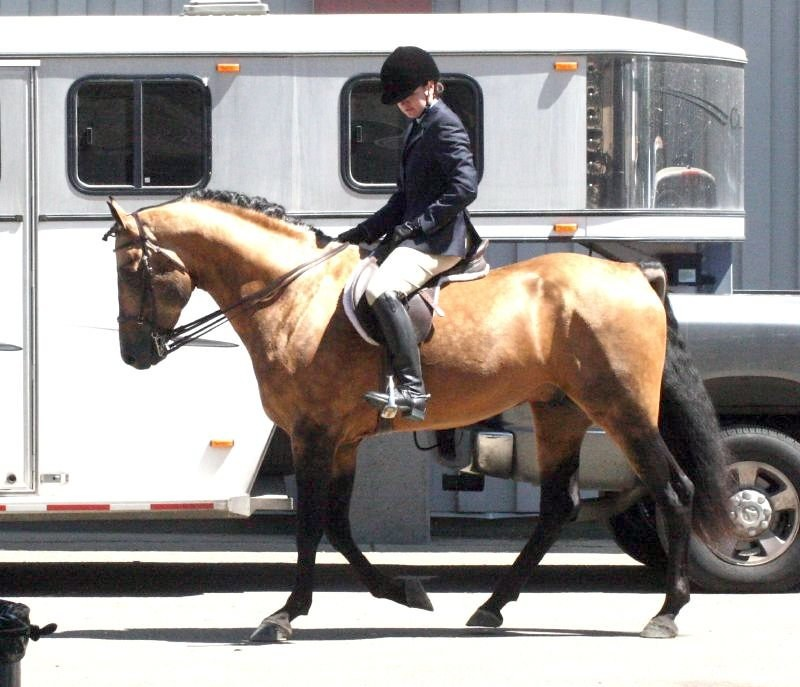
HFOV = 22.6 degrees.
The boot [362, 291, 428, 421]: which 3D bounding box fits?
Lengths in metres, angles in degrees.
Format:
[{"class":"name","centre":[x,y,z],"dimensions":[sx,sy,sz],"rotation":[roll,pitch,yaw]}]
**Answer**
[{"class":"boot","centre":[-0.024,0.093,12.342],"dimensions":[0.364,0.815,0.378],"rotation":[1,7,2]}]

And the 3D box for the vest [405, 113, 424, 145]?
[{"class":"vest","centre":[0.083,-1.333,12.641],"dimensions":[0.127,0.153,0.079],"rotation":[6,4,-10]}]

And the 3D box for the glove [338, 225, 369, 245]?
[{"class":"glove","centre":[-0.307,-0.682,12.774],"dimensions":[0.188,0.079,0.106],"rotation":[0,5,-10]}]

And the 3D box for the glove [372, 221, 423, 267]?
[{"class":"glove","centre":[-0.057,-0.626,12.619],"dimensions":[0.117,0.257,0.531],"rotation":[-42,-2,25]}]

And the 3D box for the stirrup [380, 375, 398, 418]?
[{"class":"stirrup","centre":[-0.069,0.335,12.254],"dimensions":[0.105,0.233,0.128],"rotation":[0,8,-4]}]

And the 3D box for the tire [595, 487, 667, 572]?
[{"class":"tire","centre":[1.625,1.316,14.045],"dimensions":[0.159,0.527,0.584],"rotation":[-7,2,-31]}]
